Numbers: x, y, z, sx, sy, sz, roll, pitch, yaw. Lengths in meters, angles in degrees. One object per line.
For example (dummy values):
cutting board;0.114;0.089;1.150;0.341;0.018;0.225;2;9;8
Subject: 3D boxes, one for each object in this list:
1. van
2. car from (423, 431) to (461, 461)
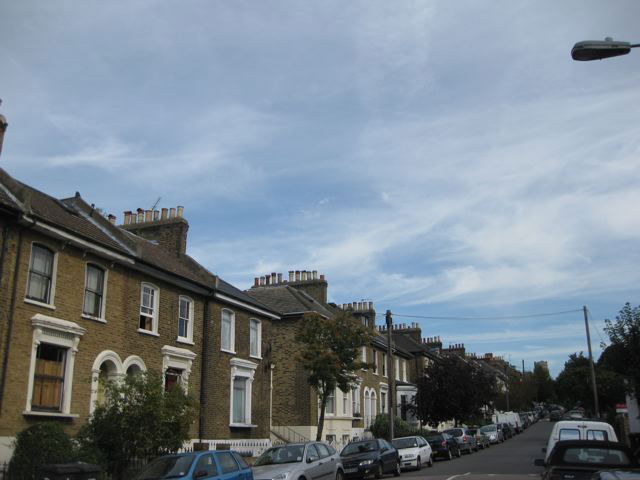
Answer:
van;8.715;7.243;23.442;2.034;1.587;3.031;-1;-11;12
car;7.048;12.093;40.350;1.218;0.920;2.728;-5;-12;20
